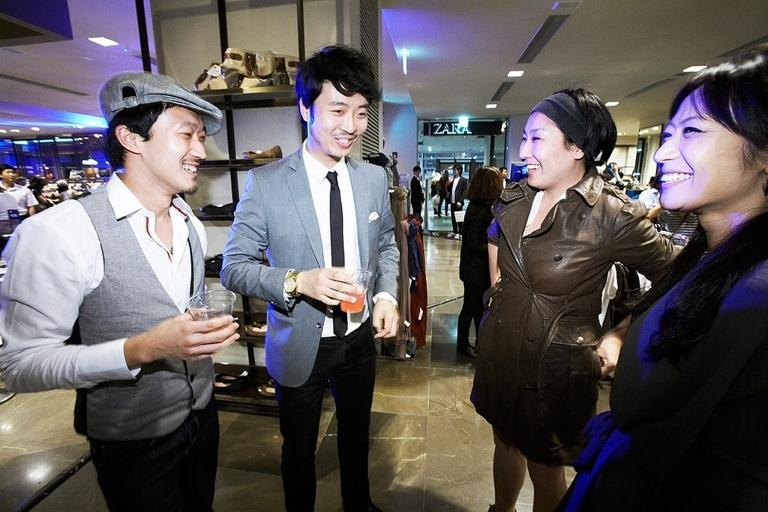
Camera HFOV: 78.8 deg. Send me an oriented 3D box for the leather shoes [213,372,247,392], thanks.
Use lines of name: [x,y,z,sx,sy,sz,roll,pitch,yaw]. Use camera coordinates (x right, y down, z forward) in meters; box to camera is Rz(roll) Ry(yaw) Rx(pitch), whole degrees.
leather shoes: [-1.277,1.035,3.821,0.222,0.078,0.125,3,6,0]

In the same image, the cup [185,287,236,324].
cup: [-0.767,0.210,2.074,0.183,0.110,0.264,-5,13,-18]

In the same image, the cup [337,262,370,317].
cup: [-0.140,0.171,2.293,0.148,0.219,0.066,-3,12,-12]

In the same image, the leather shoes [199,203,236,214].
leather shoes: [-1.332,-0.373,3.726,0.255,0.089,0.141,0,1,9]

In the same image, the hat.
hat: [-1.055,-0.688,2.227,0.462,0.207,0.349,-7,24,-21]
